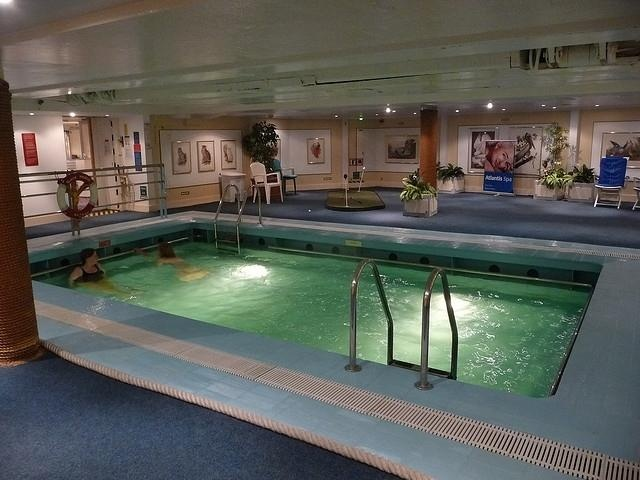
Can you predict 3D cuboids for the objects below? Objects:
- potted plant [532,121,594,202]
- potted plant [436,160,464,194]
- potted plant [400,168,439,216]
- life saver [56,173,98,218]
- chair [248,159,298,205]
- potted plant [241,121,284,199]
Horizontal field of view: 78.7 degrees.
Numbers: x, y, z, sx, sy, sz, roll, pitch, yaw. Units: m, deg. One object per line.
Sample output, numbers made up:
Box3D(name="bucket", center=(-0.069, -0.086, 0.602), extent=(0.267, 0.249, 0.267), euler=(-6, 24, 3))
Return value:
Box3D(name="potted plant", center=(9.487, -3.017, 14.996), extent=(1.857, 2.874, 1.948), euler=(5, 15, 27))
Box3D(name="potted plant", center=(5.613, -2.671, 17.582), extent=(1.133, 0.940, 1.133), euler=(-1, 11, 2))
Box3D(name="potted plant", center=(2.998, -1.360, 11.837), extent=(1.062, 1.274, 0.703), euler=(0, 14, 10))
Box3D(name="life saver", center=(-5.083, -0.930, 8.180), extent=(0.648, 1.012, 0.815), euler=(-8, 14, -22))
Box3D(name="chair", center=(-2.033, -2.232, 15.111), extent=(1.296, 1.534, 2.915), euler=(-4, 12, -9))
Box3D(name="potted plant", center=(-2.448, -3.636, 16.464), extent=(1.523, 2.703, 1.078), euler=(7, 13, -11))
